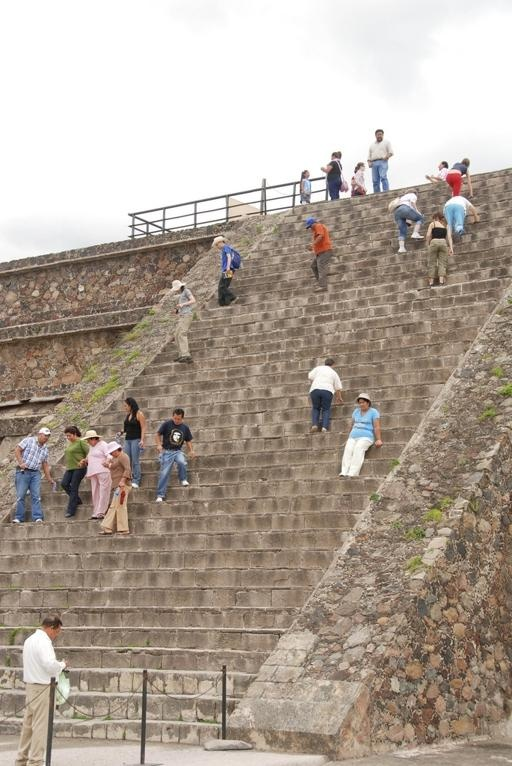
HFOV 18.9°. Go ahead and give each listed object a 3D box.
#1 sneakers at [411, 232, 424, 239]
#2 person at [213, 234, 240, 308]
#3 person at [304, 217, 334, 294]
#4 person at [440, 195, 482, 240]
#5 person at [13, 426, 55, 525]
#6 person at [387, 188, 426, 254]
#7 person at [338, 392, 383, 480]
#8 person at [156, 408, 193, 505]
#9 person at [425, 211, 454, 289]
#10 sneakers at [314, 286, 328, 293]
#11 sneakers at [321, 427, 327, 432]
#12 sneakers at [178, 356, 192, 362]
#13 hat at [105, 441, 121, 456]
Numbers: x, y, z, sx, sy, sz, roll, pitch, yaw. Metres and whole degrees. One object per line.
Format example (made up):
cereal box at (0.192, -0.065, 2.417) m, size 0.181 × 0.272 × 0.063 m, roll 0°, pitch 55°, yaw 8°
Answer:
sneakers at (1.982, -1.819, 18.590) m, size 0.058 × 0.087 × 0.161 m, roll 11°, pitch 11°, yaw 43°
person at (-0.375, -1.425, 19.565) m, size 0.402 × 0.383 × 1.105 m, roll -3°, pitch 37°, yaw 1°
person at (0.781, -1.554, 18.703) m, size 0.353 × 0.464 × 1.062 m, roll 1°, pitch 37°, yaw 3°
person at (2.464, -1.983, 18.212) m, size 0.352 × 0.243 × 0.742 m, roll -1°, pitch 45°, yaw 8°
person at (-2.323, 0.946, 15.900) m, size 0.399 × 0.901 × 0.996 m, roll -1°, pitch 7°, yaw -7°
person at (1.864, -2.013, 18.895) m, size 0.411 × 0.711 × 1.249 m, roll 1°, pitch 7°, yaw 5°
person at (0.999, 0.509, 14.314) m, size 0.391 × 0.799 × 0.454 m, roll -16°, pitch -45°, yaw 32°
person at (-0.790, 0.692, 15.014) m, size 0.323 × 0.960 × 0.294 m, roll 0°, pitch -24°, yaw 1°
person at (2.084, -1.527, 17.281) m, size 0.267 × 0.808 × 0.744 m, roll 1°, pitch 7°, yaw 8°
sneakers at (0.779, -1.141, 18.173) m, size 0.194 × 0.071 × 0.089 m, roll 6°, pitch 10°, yaw 41°
sneakers at (0.677, 0.433, 15.012) m, size 0.050 × 0.050 × 0.141 m, roll 0°, pitch 7°, yaw -2°
sneakers at (-0.804, -0.299, 17.606) m, size 0.149 × 0.071 × 0.056 m, roll 4°, pitch 3°, yaw 34°
hat at (-1.416, 0.631, 15.192) m, size 0.124 × 0.076 × 0.137 m, roll -16°, pitch 4°, yaw 15°
